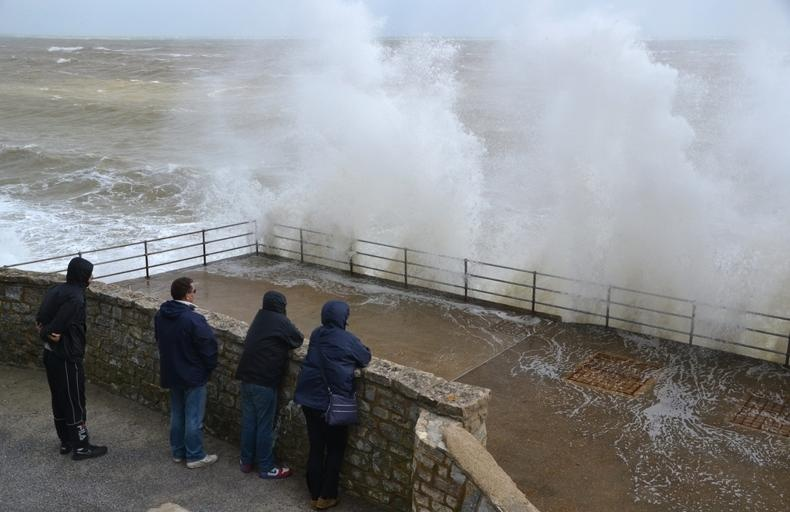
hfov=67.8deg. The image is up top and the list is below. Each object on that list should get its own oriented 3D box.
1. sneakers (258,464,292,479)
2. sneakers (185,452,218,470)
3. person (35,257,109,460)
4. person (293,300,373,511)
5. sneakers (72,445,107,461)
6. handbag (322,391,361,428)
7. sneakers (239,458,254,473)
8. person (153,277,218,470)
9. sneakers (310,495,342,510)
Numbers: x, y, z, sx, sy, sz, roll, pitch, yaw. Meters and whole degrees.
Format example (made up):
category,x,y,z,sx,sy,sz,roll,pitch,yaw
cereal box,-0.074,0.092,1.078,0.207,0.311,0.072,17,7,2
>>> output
category,x,y,z,sx,sy,sz,roll,pitch,yaw
sneakers,-1.323,2.337,6.428,0.335,0.134,0.129,-2,16,-10
sneakers,-2.129,2.267,6.496,0.341,0.135,0.121,-8,28,-23
person,-3.546,1.123,6.475,0.599,2.113,0.850,-7,23,-27
person,-0.704,1.544,6.116,0.626,2.043,0.790,12,22,20
sneakers,-3.392,2.167,6.563,0.377,0.152,0.138,-2,11,-24
handbag,-0.566,1.553,6.006,0.433,0.384,0.166,0,6,-25
sneakers,-1.649,2.306,6.496,0.083,0.078,0.186,3,9,3
person,-2.257,1.274,6.420,0.536,2.001,0.739,-12,26,-36
sneakers,-0.735,2.556,6.120,0.276,0.110,0.106,-5,11,-40
